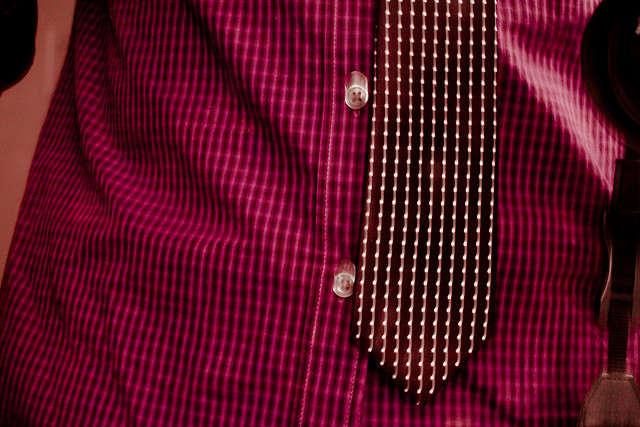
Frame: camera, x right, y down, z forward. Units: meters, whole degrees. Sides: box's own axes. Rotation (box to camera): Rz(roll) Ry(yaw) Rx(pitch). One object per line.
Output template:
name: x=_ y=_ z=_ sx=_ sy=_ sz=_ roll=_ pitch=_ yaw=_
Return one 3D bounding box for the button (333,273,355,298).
button: x=0.035 y=0.112 z=1.217 sx=0.032 sy=0.023 sz=0.027 roll=11 pitch=53 yaw=7
